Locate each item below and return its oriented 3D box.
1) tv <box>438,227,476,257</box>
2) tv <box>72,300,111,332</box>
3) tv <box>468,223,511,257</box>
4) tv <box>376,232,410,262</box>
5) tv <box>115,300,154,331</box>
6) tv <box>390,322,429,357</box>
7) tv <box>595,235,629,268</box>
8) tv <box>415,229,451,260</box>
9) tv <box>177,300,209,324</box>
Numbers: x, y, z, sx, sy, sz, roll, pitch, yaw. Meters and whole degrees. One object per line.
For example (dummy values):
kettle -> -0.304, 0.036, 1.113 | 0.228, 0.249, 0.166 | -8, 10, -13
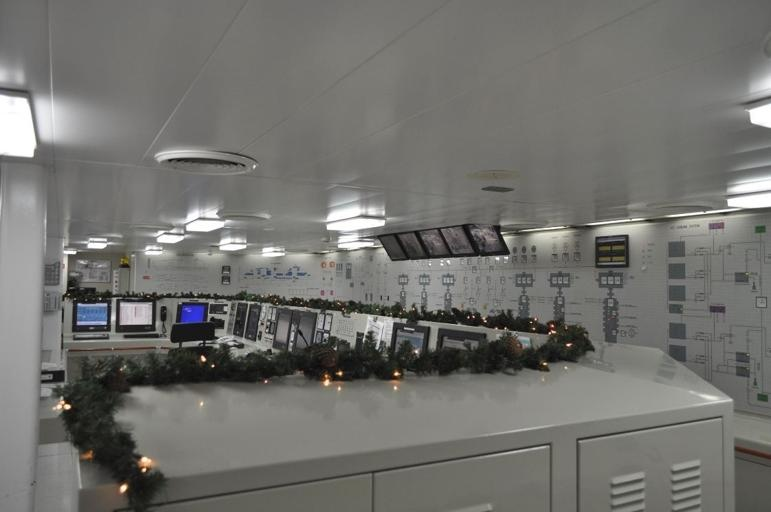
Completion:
tv -> 1.081, -0.204, 7.184 | 0.494, 0.444, 0.117 | -7, 27, 46
tv -> -4.758, 0.925, 7.906 | 0.756, 0.674, 0.442 | 4, -4, -28
tv -> 1.467, -0.216, 6.837 | 0.057, 0.544, 0.486 | -42, 16, -30
tv -> 0.156, -0.157, 8.669 | 0.599, 0.687, 0.051 | 6, 53, 53
tv -> -4.149, 1.009, 7.846 | 0.542, 0.480, 0.273 | 2, -1, -28
tv -> 0.242, 0.864, 5.015 | 0.137, 0.345, 0.580 | -7, 16, -42
tv -> 2.955, -0.042, 6.161 | 0.052, 0.403, 0.440 | 7, -5, -29
tv -> 0.773, -0.192, 7.610 | 0.466, 0.623, 0.080 | 9, 51, 43
tv -> -3.303, 0.978, 8.112 | 0.344, 0.300, 0.184 | 7, -12, -35
